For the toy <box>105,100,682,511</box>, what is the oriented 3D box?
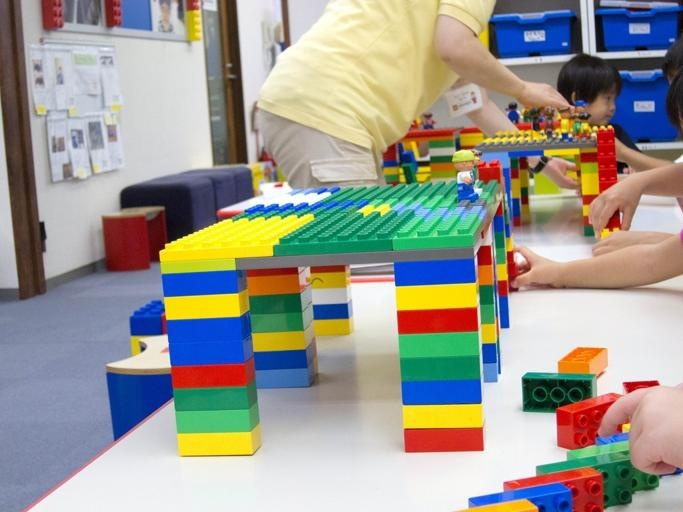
[{"bbox_3d":[-0.013,0.062,0.798,0.324,0.250,0.524,-2,16,6],"label":"toy"}]
